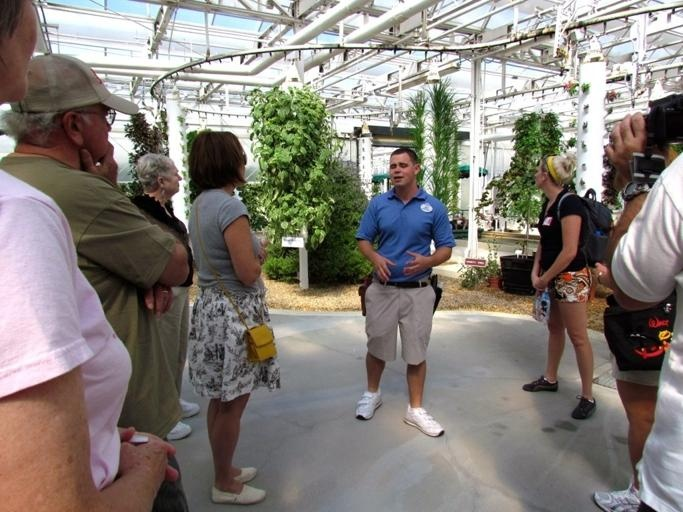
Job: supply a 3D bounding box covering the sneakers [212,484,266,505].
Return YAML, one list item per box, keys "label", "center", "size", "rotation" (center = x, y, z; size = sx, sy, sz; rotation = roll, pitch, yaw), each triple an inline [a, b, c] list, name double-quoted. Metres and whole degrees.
- label: "sneakers"
  center: [-0.628, 1.461, 2.637]
  size: [0.245, 0.088, 0.133]
  rotation: [1, -5, -8]

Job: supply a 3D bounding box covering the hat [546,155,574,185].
- label: "hat"
  center: [1.917, -0.751, 3.877]
  size: [0.189, 0.230, 0.271]
  rotation: [-7, -2, 16]

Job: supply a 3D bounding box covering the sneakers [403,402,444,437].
- label: "sneakers"
  center: [0.641, 1.278, 3.433]
  size: [0.126, 0.135, 0.311]
  rotation: [-7, 12, -44]

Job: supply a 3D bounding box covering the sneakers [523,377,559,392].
- label: "sneakers"
  center: [1.797, 1.184, 4.014]
  size: [0.332, 0.155, 0.127]
  rotation: [3, 1, 6]

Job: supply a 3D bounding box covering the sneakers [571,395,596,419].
- label: "sneakers"
  center: [1.999, 1.240, 3.582]
  size: [0.100, 0.135, 0.288]
  rotation: [-5, 2, 44]

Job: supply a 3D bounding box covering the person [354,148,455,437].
- label: "person"
  center: [0.500, 0.208, 3.625]
  size: [0.807, 2.205, 0.900]
  rotation: [2, 10, 14]

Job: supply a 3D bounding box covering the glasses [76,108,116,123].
- label: "glasses"
  center: [-0.972, -0.547, 1.733]
  size: [0.103, 0.033, 0.077]
  rotation: [-2, 13, -25]

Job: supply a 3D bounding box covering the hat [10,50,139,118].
- label: "hat"
  center: [-1.020, -0.630, 1.720]
  size: [0.410, 0.224, 0.266]
  rotation: [-13, 23, -39]

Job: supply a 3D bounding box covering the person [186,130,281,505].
- label: "person"
  center: [-0.681, 0.363, 2.683]
  size: [0.532, 2.235, 0.570]
  rotation: [-4, 11, -21]

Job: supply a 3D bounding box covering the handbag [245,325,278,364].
- label: "handbag"
  center: [-0.469, 0.514, 2.559]
  size: [0.169, 0.196, 0.129]
  rotation: [-6, 11, -26]
